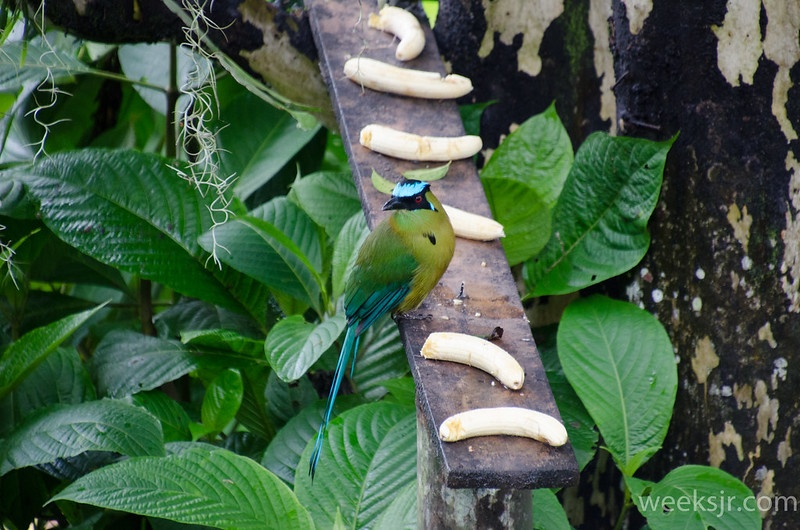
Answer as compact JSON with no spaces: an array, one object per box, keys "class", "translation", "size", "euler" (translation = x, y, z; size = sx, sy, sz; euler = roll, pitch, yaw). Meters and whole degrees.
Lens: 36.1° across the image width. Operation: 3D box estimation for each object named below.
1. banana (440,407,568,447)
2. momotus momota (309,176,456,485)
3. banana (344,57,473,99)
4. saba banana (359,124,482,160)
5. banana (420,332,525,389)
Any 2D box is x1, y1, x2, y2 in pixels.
[{"class":"banana","translation":[0.414,0.682,5.084],"size":[0.524,0.145,0.231],"euler":[0,22,0]},{"class":"momotus momota","translation":[-0.077,0.278,5.584],"size":[0.517,1.342,0.442],"euler":[10,15,-27]},{"class":"banana","translation":[0.035,-0.905,6.036],"size":[0.622,0.163,0.218],"euler":[9,38,-1]},{"class":"saba banana","translation":[0.099,-0.543,5.838],"size":[0.563,0.163,0.245],"euler":[4,51,3]},{"class":"banana","translation":[0.308,0.403,5.263],"size":[0.447,0.130,0.218],"euler":[17,32,6]}]
